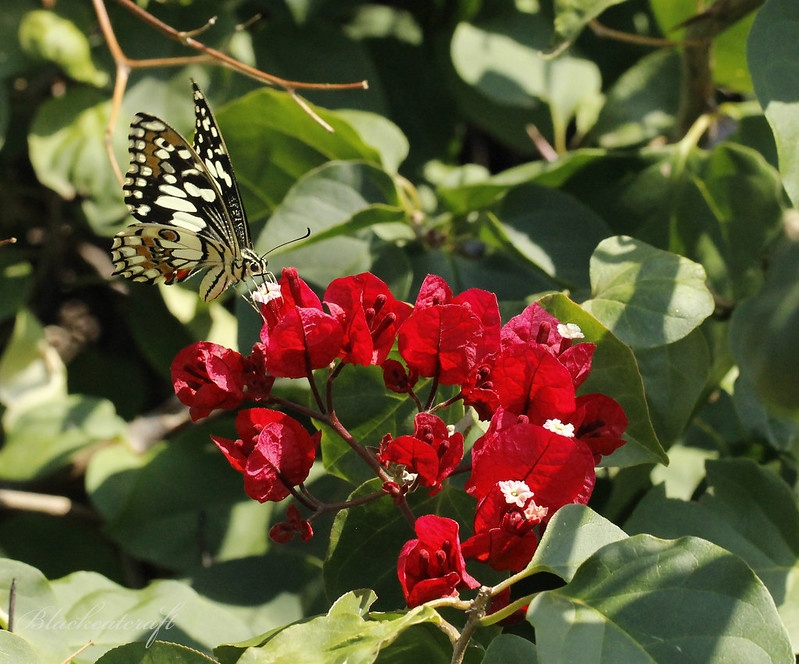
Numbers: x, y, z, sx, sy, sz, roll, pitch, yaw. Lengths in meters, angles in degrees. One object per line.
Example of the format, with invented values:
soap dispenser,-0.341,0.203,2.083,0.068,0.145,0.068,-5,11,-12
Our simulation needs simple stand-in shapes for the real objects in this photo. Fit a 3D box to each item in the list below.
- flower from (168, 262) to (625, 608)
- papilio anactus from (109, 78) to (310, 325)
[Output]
flower,-0.030,0.152,1.111,0.370,0.157,0.365,21,34,-20
papilio anactus,-0.245,-0.168,1.359,0.233,0.255,0.215,10,-6,-36
